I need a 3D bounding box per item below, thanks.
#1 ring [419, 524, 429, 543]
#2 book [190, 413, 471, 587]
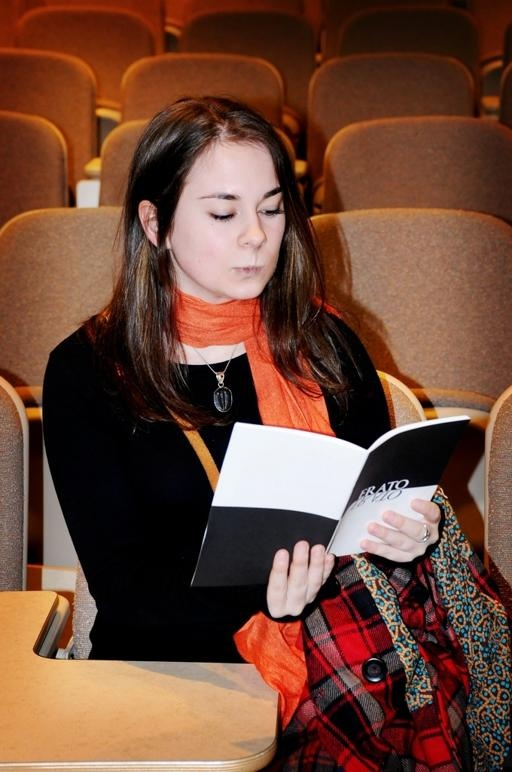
[{"bbox_3d":[0.195,0.173,0.734,0.009,0.021,0.020,6,7,10],"label":"ring"},{"bbox_3d":[0.070,0.128,0.669,0.309,0.221,0.015,1,42,-29],"label":"book"}]
